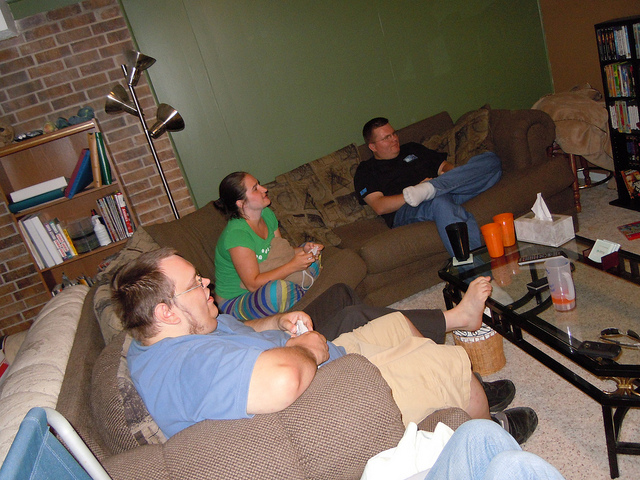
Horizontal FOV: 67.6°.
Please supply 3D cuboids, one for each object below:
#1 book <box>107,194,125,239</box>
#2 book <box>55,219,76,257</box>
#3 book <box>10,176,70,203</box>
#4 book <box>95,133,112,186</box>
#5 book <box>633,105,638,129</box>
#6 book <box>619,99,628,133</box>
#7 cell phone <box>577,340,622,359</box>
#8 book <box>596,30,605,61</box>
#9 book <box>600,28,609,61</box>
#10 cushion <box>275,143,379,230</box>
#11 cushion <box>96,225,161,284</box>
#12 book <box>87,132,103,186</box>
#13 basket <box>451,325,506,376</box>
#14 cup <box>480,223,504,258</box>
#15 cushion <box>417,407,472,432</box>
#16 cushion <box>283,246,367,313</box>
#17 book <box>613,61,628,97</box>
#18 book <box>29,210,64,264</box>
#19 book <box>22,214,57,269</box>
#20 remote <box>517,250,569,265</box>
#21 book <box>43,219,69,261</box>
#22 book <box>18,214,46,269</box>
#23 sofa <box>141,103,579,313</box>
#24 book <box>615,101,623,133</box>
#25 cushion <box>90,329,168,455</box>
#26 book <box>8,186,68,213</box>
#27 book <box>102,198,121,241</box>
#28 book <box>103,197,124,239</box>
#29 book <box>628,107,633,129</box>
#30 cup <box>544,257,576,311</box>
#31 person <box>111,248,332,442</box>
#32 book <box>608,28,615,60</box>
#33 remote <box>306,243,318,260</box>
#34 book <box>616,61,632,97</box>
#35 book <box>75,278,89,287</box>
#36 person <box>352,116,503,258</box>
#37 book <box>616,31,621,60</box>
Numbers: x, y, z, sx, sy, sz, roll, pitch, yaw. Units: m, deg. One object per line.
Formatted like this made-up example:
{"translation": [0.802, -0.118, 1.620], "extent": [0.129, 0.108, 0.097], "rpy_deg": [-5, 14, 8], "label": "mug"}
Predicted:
{"translation": [-1.600, -0.198, 3.749], "extent": [0.046, 0.365, 0.039], "rpy_deg": [-25, 2, -28], "label": "book"}
{"translation": [-1.947, -0.013, 3.667], "extent": [0.052, 0.217, 0.214], "rpy_deg": [-36, 0, -31], "label": "book"}
{"translation": [-2.122, -0.377, 3.591], "extent": [0.244, 0.060, 0.241], "rpy_deg": [-25, 12, -36], "label": "book"}
{"translation": [-1.654, -0.619, 3.668], "extent": [0.070, 0.290, 0.281], "rpy_deg": [-4, 7, -38], "label": "book"}
{"translation": [2.275, -0.912, 3.461], "extent": [0.012, 0.119, 0.041], "rpy_deg": [-11, 20, 9], "label": "book"}
{"translation": [2.238, -0.915, 3.552], "extent": [0.041, 0.181, 0.181], "rpy_deg": [-1, -12, 21], "label": "book"}
{"translation": [1.020, 0.396, 1.756], "extent": [0.096, 0.023, 0.060], "rpy_deg": [5, 42, 41], "label": "cell phone"}
{"translation": [2.077, -1.440, 3.550], "extent": [0.019, 0.210, 0.056], "rpy_deg": [-12, 20, 8], "label": "book"}
{"translation": [2.091, -1.440, 3.528], "extent": [0.046, 0.230, 0.052], "rpy_deg": [-4, 17, 3], "label": "book"}
{"translation": [0.097, -0.420, 3.678], "extent": [0.676, 0.625, 0.150], "rpy_deg": [-25, -1, -17], "label": "cushion"}
{"translation": [-1.008, 0.121, 2.587], "extent": [0.310, 0.093, 0.276], "rpy_deg": [-34, 51, -26], "label": "cushion"}
{"translation": [-1.708, -0.619, 3.636], "extent": [0.073, 0.311, 0.295], "rpy_deg": [-1, 5, -9], "label": "book"}
{"translation": [0.805, 0.535, 2.440], "extent": [0.148, 0.161, 0.164], "rpy_deg": [-33, 33, 6], "label": "basket"}
{"translation": [0.930, 0.003, 2.580], "extent": [0.133, 0.174, 0.128], "rpy_deg": [-13, 10, 2], "label": "cup"}
{"translation": [0.429, 0.611, 1.644], "extent": [0.105, 0.039, 0.096], "rpy_deg": [-11, 5, -29], "label": "cushion"}
{"translation": [0.050, 0.174, 2.941], "extent": [0.381, 0.154, 0.383], "rpy_deg": [-36, 22, -5], "label": "cushion"}
{"translation": [2.188, -1.184, 3.490], "extent": [0.041, 0.292, 0.222], "rpy_deg": [-7, 9, 29], "label": "book"}
{"translation": [-2.042, -0.021, 3.636], "extent": [0.077, 0.325, 0.317], "rpy_deg": [-27, 12, -6], "label": "book"}
{"translation": [-2.104, 0.026, 3.592], "extent": [0.080, 0.339, 0.329], "rpy_deg": [-30, 46, -16], "label": "book"}
{"translation": [1.105, 0.085, 2.384], "extent": [0.177, 0.031, 0.091], "rpy_deg": [-8, 12, 15], "label": "remote"}
{"translation": [-1.960, -0.016, 3.655], "extent": [0.062, 0.261, 0.255], "rpy_deg": [-27, 16, -19], "label": "book"}
{"translation": [-2.162, 0.020, 3.622], "extent": [0.071, 0.400, 0.148], "rpy_deg": [-22, 21, -19], "label": "book"}
{"translation": [0.426, -0.121, 3.646], "extent": [3.183, 1.147, 1.095], "rpy_deg": [-23, 16, -22], "label": "sofa"}
{"translation": [2.225, -0.921, 3.571], "extent": [0.040, 0.178, 0.178], "rpy_deg": [-2, 0, 24], "label": "book"}
{"translation": [-0.702, 0.508, 1.766], "extent": [0.259, 0.147, 0.475], "rpy_deg": [8, 42, -35], "label": "cushion"}
{"translation": [-2.107, -0.312, 3.604], "extent": [0.410, 0.060, 0.089], "rpy_deg": [-21, 20, -16], "label": "book"}
{"translation": [-1.634, -0.174, 3.739], "extent": [0.034, 0.353, 0.034], "rpy_deg": [-14, 19, 35], "label": "book"}
{"translation": [-1.617, -0.180, 3.785], "extent": [0.051, 0.393, 0.050], "rpy_deg": [-33, 19, -22], "label": "book"}
{"translation": [2.264, -0.890, 3.499], "extent": [0.010, 0.149, 0.038], "rpy_deg": [-14, 20, 1], "label": "book"}
{"translation": [1.057, 0.210, 2.070], "extent": [0.110, 0.205, 0.193], "rpy_deg": [-14, 13, 11], "label": "cup"}
{"translation": [-0.363, 0.312, 1.704], "extent": [0.723, 0.579, 0.590], "rpy_deg": [-16, 20, -3], "label": "person"}
{"translation": [2.105, -1.432, 3.471], "extent": [0.034, 0.247, 0.039], "rpy_deg": [-8, 10, 9], "label": "book"}
{"translation": [-0.043, 0.068, 2.833], "extent": [0.074, 0.029, 0.053], "rpy_deg": [-51, 35, -17], "label": "remote"}
{"translation": [2.200, -1.178, 3.464], "extent": [0.029, 0.224, 0.196], "rpy_deg": [-3, 26, 14], "label": "book"}
{"translation": [-1.693, 0.300, 3.404], "extent": [0.025, 0.042, 0.108], "rpy_deg": [-35, 55, -19], "label": "book"}
{"translation": [0.764, -0.351, 3.395], "extent": [0.608, 0.948, 0.759], "rpy_deg": [-48, 22, -25], "label": "person"}
{"translation": [2.131, -1.395, 3.423], "extent": [0.014, 0.192, 0.030], "rpy_deg": [-12, 20, 7], "label": "book"}
